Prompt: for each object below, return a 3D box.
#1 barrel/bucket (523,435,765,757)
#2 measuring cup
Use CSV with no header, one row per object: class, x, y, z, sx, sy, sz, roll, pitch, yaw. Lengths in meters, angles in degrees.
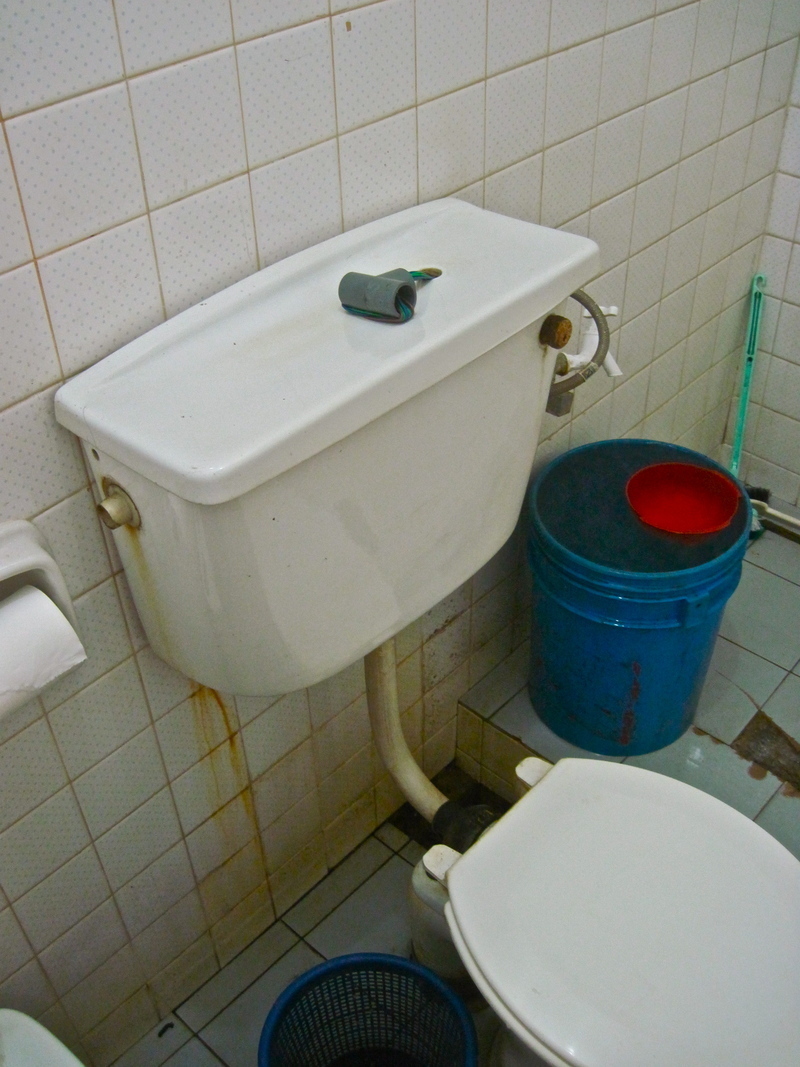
barrel/bucket,0.351,0.108,1.477,0.416,0.449,0.361,17,34,31
measuring cup,0.429,-0.047,1.395,0.173,0.160,0.063,16,65,1
